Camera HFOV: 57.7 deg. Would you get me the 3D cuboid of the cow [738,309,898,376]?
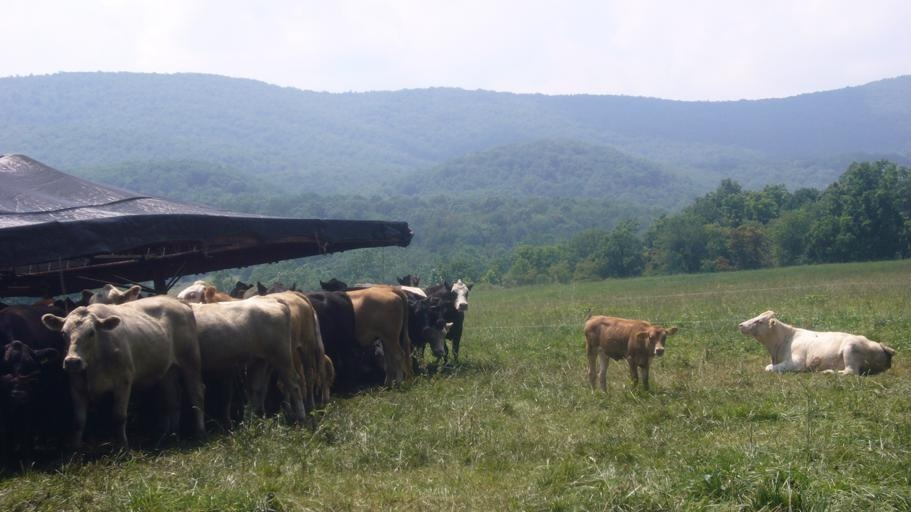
[{"bbox_3d":[13.218,3.152,30.067,5.374,2.107,1.973,-1,13,36],"label":"cow"}]
